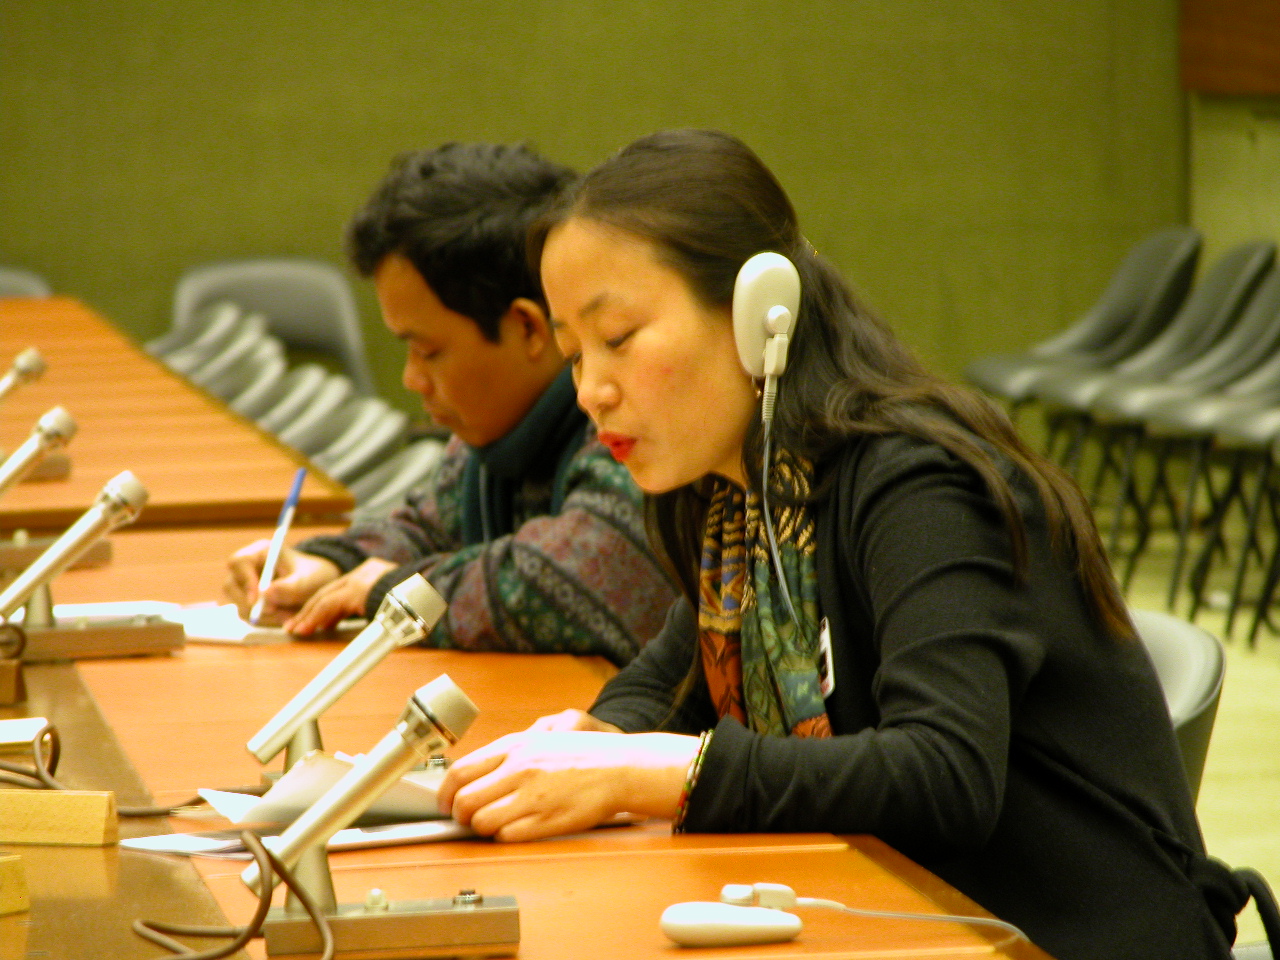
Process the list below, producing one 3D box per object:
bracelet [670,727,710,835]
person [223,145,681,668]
[{"bbox_3d":[0.044,0.232,1.007,0.019,0.055,0.057,19,17,17],"label":"bracelet"},{"bbox_3d":[-0.182,-0.078,1.846,0.612,0.642,0.919,-3,9,-19],"label":"person"}]
